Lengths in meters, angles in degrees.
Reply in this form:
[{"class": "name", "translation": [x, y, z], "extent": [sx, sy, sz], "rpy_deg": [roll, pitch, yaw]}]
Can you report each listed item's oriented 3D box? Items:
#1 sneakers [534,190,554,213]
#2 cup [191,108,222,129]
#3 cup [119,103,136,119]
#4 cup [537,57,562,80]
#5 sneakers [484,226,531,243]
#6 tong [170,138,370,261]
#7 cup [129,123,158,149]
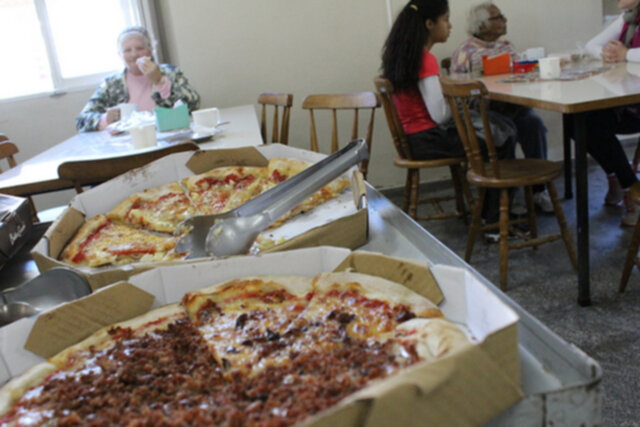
[{"class": "sneakers", "translation": [1.398, -0.078, 2.759], "extent": [0.075, 0.060, 0.153], "rpy_deg": [-28, 39, -18]}, {"class": "cup", "translation": [-0.588, -0.509, 2.331], "extent": [0.142, 0.090, 0.138], "rpy_deg": [-1, 20, 1]}, {"class": "cup", "translation": [-1.176, -0.634, 2.702], "extent": [0.088, 0.085, 0.158], "rpy_deg": [2, 8, -16]}, {"class": "cup", "translation": [1.190, -0.757, 2.293], "extent": [0.103, 0.098, 0.135], "rpy_deg": [-2, 7, 20]}, {"class": "sneakers", "translation": [0.994, 0.113, 2.351], "extent": [0.185, 0.082, 0.063], "rpy_deg": [-9, 21, 8]}, {"class": "tong", "translation": [-0.072, -0.040, 1.004], "extent": [0.415, 0.094, 0.133], "rpy_deg": [-34, 16, 0]}, {"class": "cup", "translation": [-0.765, -0.348, 1.968], "extent": [0.110, 0.110, 0.109], "rpy_deg": [-2, 25, 1]}]
